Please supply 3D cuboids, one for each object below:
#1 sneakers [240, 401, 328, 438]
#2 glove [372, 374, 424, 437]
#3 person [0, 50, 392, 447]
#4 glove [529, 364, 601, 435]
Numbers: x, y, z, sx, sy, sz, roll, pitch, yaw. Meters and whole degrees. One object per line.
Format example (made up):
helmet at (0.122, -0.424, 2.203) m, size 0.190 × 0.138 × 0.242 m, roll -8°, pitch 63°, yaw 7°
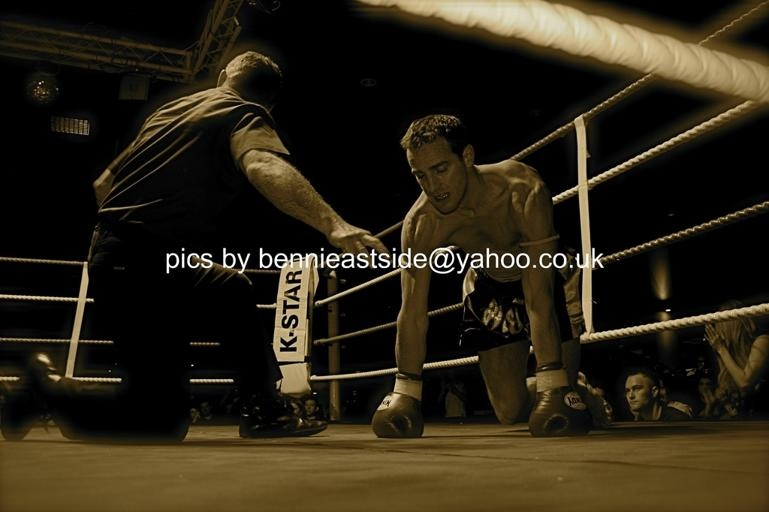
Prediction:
sneakers at (-0.481, 0.773, 3.304) m, size 0.387 × 0.150 × 0.119 m, roll 8°, pitch -10°, yaw -22°
glove at (0.058, 0.726, 3.188) m, size 0.216 × 0.312 × 0.328 m, roll -15°, pitch -23°, yaw 5°
person at (-0.846, -0.084, 3.201) m, size 1.626 × 1.810 × 0.655 m, roll -6°, pitch -15°, yaw 18°
glove at (0.772, 0.623, 2.997) m, size 0.214 × 0.304 × 0.351 m, roll -7°, pitch -5°, yaw 42°
